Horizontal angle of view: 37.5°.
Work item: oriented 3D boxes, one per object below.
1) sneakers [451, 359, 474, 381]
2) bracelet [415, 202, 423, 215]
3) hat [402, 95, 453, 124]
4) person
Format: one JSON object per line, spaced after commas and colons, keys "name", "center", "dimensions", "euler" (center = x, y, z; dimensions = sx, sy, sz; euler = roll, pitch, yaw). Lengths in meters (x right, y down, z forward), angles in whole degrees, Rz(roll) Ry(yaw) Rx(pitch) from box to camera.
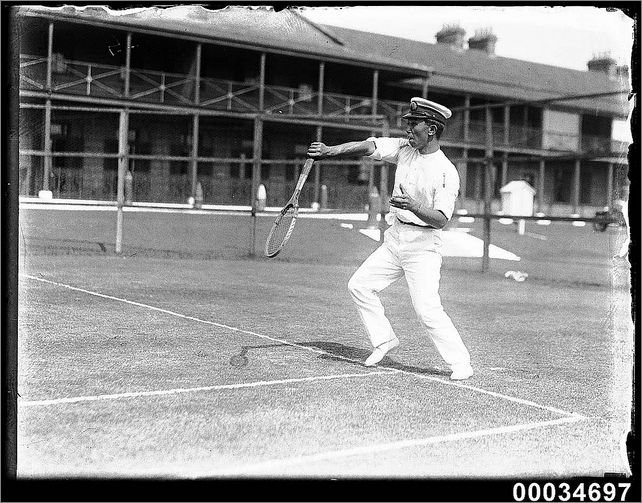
{"name": "sneakers", "center": [1.178, 0.992, 7.942], "dimensions": [0.192, 0.186, 0.124], "euler": [-2, 4, 2]}
{"name": "bracelet", "center": [0.763, -0.334, 7.377], "dimensions": [0.037, 0.074, 0.055], "euler": [8, 7, 29]}
{"name": "hat", "center": [0.878, -1.178, 7.799], "dimensions": [0.379, 0.227, 0.461], "euler": [5, 4, 4]}
{"name": "person", "center": [0.703, -0.115, 7.897], "dimensions": [1.168, 2.327, 0.910], "euler": [8, 5, 35]}
